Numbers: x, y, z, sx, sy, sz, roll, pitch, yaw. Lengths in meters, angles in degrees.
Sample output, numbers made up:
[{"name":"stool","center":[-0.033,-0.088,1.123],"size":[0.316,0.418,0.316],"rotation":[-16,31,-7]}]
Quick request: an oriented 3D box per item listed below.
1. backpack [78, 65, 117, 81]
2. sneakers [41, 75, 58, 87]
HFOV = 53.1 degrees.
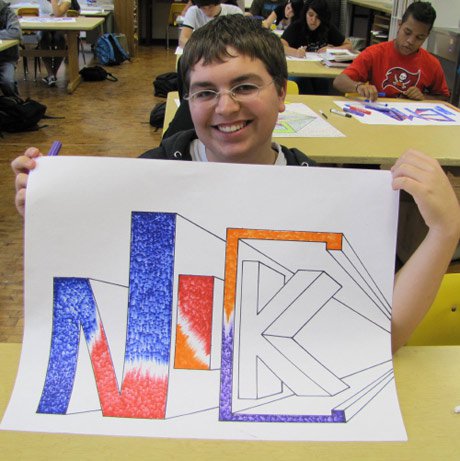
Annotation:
[{"name":"backpack","center":[-1.698,-1.996,5.901],"size":[0.358,0.150,0.274],"rotation":[2,12,4]},{"name":"sneakers","center":[-2.195,-1.819,5.574],"size":[0.105,0.125,0.287],"rotation":[-14,27,-26]}]
